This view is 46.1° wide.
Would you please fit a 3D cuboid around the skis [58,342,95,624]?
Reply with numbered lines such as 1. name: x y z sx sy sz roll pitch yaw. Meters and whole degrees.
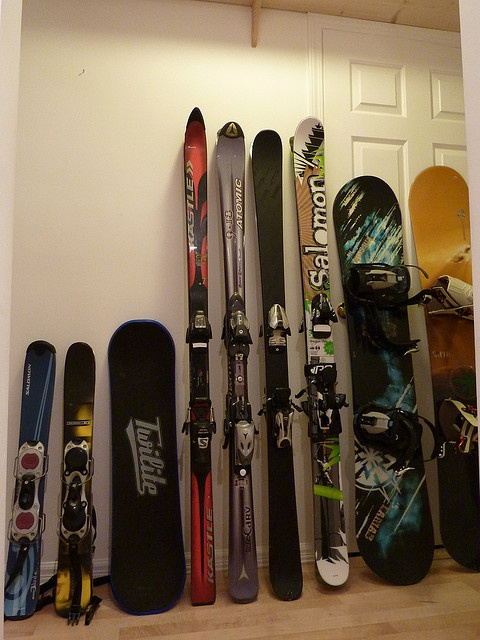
1. skis: -0.668 0.665 2.311 0.135 1.221 0.125 1 -8 -15

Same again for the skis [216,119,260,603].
1. skis: -0.015 0.213 2.465 0.164 2.188 0.185 -1 -4 -6

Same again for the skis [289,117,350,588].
1. skis: 0.361 0.168 2.587 0.227 2.202 0.266 -1 -4 -15

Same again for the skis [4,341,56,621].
1. skis: -0.848 0.653 2.314 0.130 1.203 0.148 1 -10 -10

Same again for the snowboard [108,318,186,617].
1. snowboard: -0.395 0.573 2.355 0.300 1.106 0.408 -1 5 -15

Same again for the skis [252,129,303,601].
1. skis: 0.139 0.161 2.555 0.174 2.285 0.200 2 -9 -16

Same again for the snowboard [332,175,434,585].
1. snowboard: 0.655 0.347 2.605 0.339 2.088 0.485 -2 -4 -6

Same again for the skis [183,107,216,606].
1. skis: -0.194 0.104 2.453 0.172 2.026 0.140 -1 -7 -6
